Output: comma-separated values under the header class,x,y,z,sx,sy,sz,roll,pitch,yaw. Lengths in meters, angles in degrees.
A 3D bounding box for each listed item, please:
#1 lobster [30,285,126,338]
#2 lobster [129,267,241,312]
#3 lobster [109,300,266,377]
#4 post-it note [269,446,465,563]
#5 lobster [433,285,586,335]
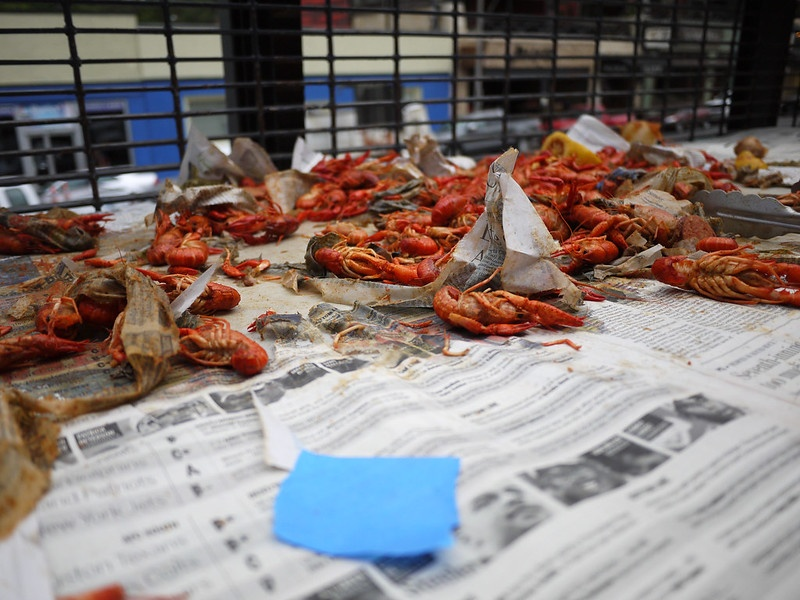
class,x,y,z,sx,sy,sz,roll,pitch,yaw
lobster,-1.112,0.038,2.093,0.245,0.094,0.306,6,20,38
lobster,-0.850,-0.032,2.244,0.156,0.098,0.474,16,4,36
lobster,-0.700,0.135,1.942,0.470,0.079,0.261,1,-15,20
post-it note,-0.084,0.496,1.404,0.450,0.096,0.300,0,16,5
lobster,0.393,0.049,2.147,0.429,0.087,0.224,8,-8,1
